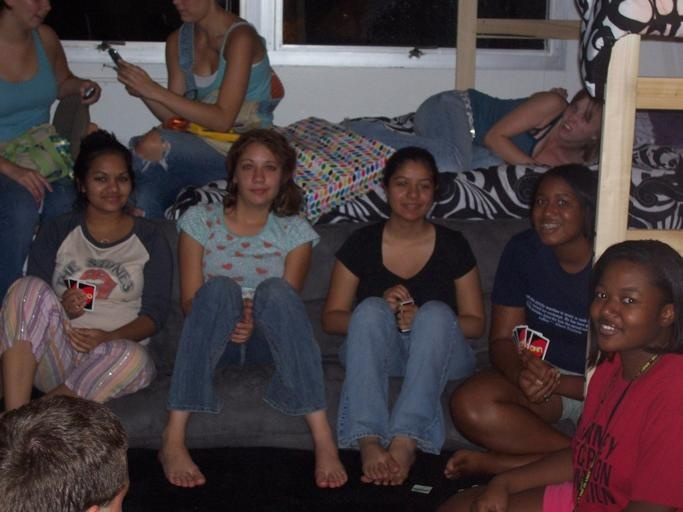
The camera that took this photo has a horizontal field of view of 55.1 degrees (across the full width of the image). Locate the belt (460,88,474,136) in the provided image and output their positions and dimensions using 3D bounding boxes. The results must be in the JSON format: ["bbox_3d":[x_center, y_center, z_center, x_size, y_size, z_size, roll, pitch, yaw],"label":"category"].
[{"bbox_3d":[0.680,-0.776,3.528,0.063,0.243,0.026,-7,-17,-6],"label":"belt"}]

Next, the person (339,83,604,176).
[{"bbox_3d":[0.756,-0.667,3.433,0.973,0.346,0.587,6,31,0],"label":"person"}]

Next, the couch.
[{"bbox_3d":[-0.312,0.492,2.946,1.965,0.817,0.773,-1,-29,-1],"label":"couch"}]

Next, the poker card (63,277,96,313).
[{"bbox_3d":[-0.996,0.147,2.504,0.120,0.116,0.032,-10,-3,15],"label":"poker card"}]
